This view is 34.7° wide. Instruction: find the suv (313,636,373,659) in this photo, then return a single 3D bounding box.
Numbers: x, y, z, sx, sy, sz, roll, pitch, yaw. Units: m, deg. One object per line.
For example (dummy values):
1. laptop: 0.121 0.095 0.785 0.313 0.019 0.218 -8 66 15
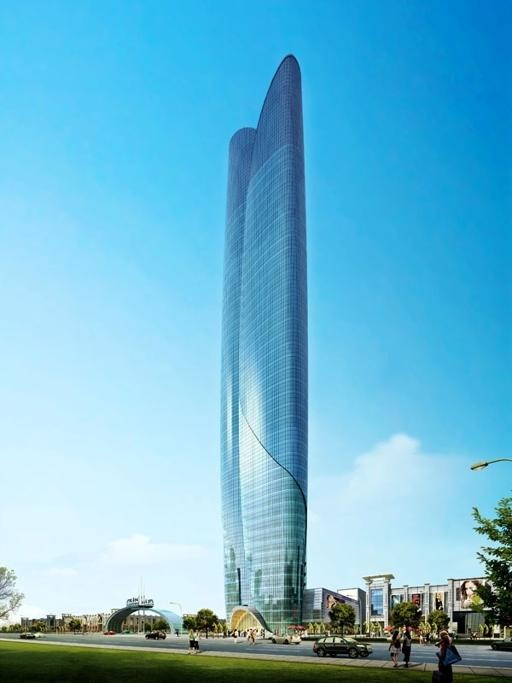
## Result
1. suv: 6.541 23.860 64.301 2.086 1.535 4.935 19 -27 -39
